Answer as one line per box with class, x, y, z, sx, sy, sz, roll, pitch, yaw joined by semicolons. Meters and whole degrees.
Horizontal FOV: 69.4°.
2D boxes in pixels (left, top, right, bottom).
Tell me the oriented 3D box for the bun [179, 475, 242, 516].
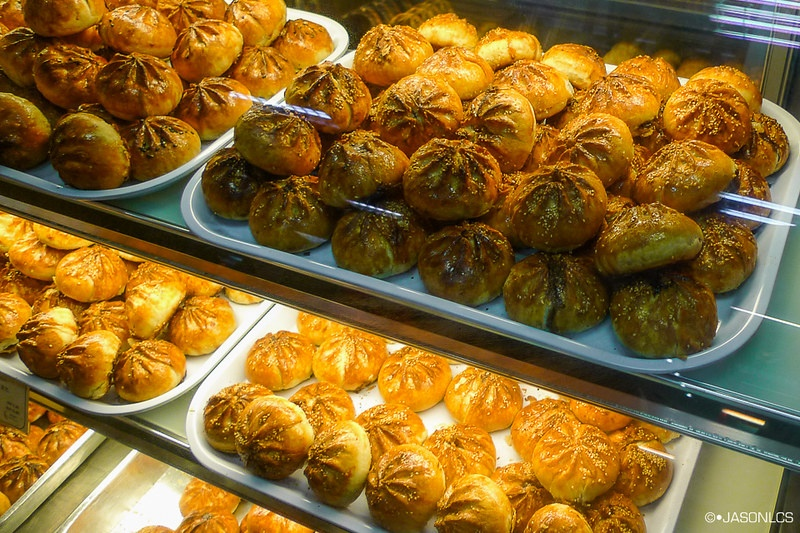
bun;-0.639;0.764;1.934;0.172;0.104;0.167;-6;40;-29
